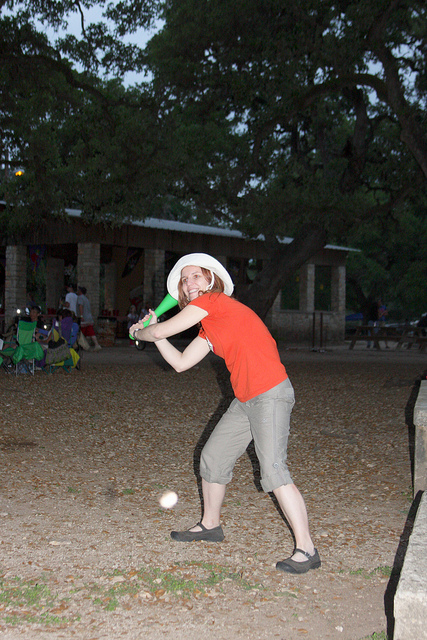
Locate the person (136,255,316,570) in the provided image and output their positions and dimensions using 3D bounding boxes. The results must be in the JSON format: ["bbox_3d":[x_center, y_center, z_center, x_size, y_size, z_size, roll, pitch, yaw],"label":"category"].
[{"bbox_3d":[0.136,0.429,3.080,0.785,1.383,1.438,0,-2,9],"label":"person"}]

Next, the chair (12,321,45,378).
[{"bbox_3d":[-3.160,0.464,9.856,0.647,0.801,0.726,3,5,4],"label":"chair"}]

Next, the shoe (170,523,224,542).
[{"bbox_3d":[-0.071,1.063,2.915,0.276,0.103,0.095,1,-18,4],"label":"shoe"}]

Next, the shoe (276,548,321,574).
[{"bbox_3d":[0.361,1.039,2.483,0.184,0.078,0.090,7,-13,-36],"label":"shoe"}]
